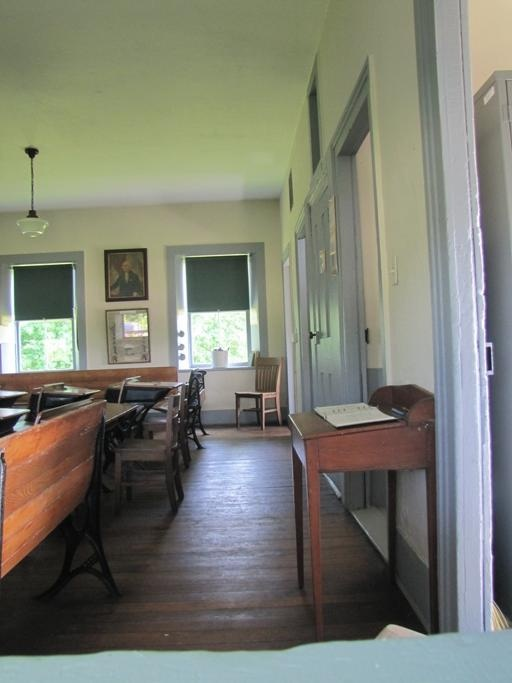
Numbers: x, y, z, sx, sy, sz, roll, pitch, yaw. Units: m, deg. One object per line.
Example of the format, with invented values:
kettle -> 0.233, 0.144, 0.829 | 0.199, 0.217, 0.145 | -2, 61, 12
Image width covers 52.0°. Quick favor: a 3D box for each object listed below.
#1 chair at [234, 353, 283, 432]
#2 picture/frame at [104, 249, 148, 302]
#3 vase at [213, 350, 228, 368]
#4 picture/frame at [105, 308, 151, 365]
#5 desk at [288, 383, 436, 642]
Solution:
chair -> 0.033, 0.645, 6.664 | 0.586, 0.874, 0.942 | 0, -2, 3
picture/frame -> -1.803, -0.885, 7.144 | 0.669, 0.840, 0.060 | -1, 0, -6
vase -> -0.495, 0.250, 7.318 | 0.217, 0.236, 0.205 | -1, 3, 0
picture/frame -> -1.778, -0.042, 7.130 | 0.730, 0.971, 0.040 | 0, -4, -5
desk -> 0.350, 0.558, 1.799 | 0.462, 0.802, 0.625 | -1, -2, 4
